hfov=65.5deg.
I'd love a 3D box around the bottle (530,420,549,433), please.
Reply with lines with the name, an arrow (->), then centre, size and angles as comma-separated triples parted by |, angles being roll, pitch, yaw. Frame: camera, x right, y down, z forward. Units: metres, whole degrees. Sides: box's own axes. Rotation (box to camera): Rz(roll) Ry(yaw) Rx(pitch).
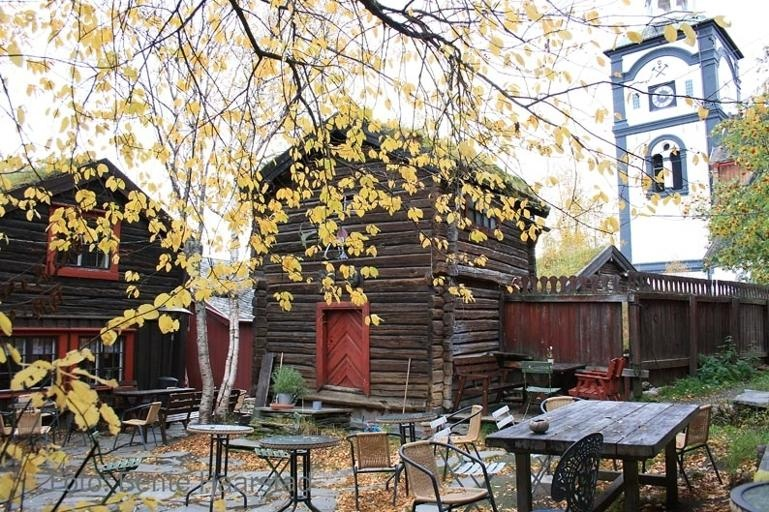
bottle -> 1.827, 2.006, 7.042 | 0.196, 0.141, 0.207 | -2, -10, 0

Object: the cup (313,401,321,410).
cup -> -1.465, 3.270, 13.121 | 0.196, 0.204, 0.218 | -1, 0, -32
